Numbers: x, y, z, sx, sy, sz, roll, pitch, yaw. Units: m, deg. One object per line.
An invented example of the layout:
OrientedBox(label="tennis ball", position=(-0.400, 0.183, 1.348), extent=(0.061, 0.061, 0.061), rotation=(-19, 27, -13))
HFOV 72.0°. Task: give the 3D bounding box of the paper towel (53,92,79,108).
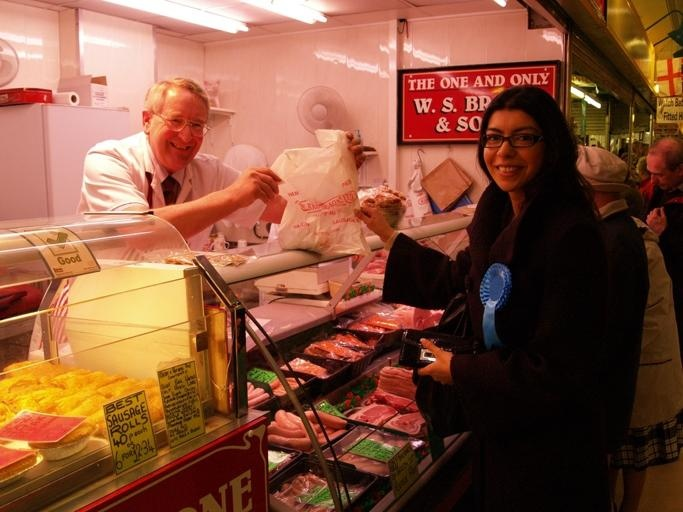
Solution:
OrientedBox(label="paper towel", position=(-2.522, -1.419, 4.289), extent=(0.228, 0.096, 0.095), rotation=(0, 20, 26))

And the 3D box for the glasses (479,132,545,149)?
OrientedBox(label="glasses", position=(0.556, -0.378, 1.546), extent=(0.194, 0.053, 0.086), rotation=(4, 14, 28))

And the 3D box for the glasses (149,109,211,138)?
OrientedBox(label="glasses", position=(-0.723, -0.581, 2.084), extent=(0.228, 0.116, 0.101), rotation=(-7, 12, -20))

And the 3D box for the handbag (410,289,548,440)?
OrientedBox(label="handbag", position=(0.477, 0.423, 1.773), extent=(0.174, 0.480, 0.370), rotation=(4, -2, -17))
